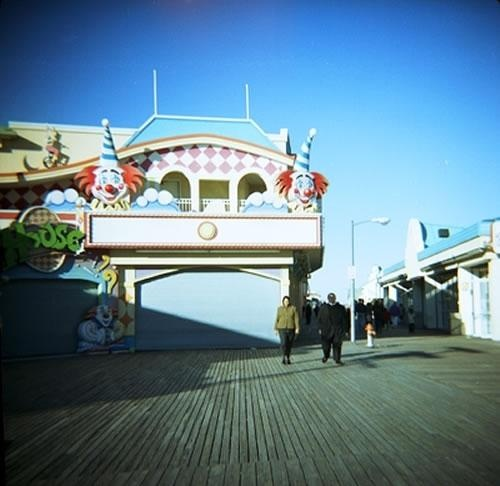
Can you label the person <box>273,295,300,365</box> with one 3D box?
[{"bbox_3d":[1.028,2.426,13.428,0.632,1.844,1.053,1,-5,6],"label":"person"}]
